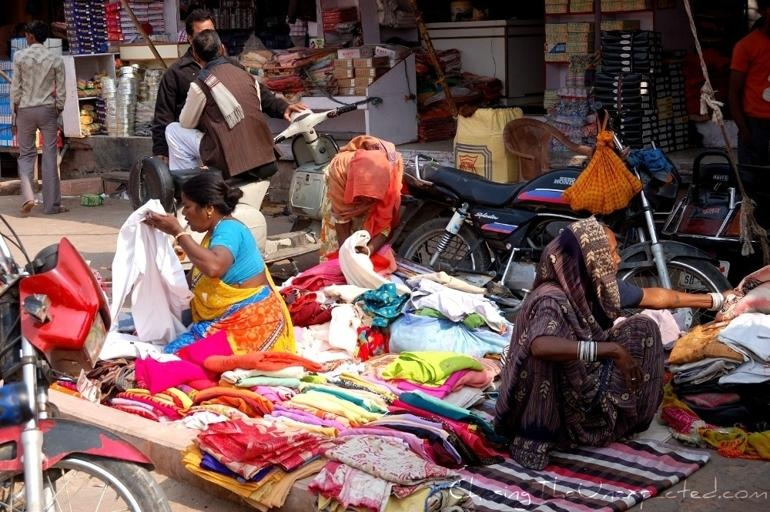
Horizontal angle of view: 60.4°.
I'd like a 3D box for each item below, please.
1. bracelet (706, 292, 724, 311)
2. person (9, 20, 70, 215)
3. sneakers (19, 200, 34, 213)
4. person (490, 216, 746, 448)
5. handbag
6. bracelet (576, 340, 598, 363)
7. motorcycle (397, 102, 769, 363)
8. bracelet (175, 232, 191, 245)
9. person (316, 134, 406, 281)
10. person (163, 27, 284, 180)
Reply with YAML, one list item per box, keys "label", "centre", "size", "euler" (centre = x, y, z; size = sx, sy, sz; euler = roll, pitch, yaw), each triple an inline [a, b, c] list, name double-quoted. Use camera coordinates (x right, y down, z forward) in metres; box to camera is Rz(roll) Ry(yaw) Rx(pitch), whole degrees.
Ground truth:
- label: "bracelet"
  centre: [2.218, 0.309, 4.456]
  size: [0.109, 0.117, 0.122]
  euler: [5, 7, 29]
- label: "person"
  centre: [-5.107, -1.851, 9.791]
  size: [0.681, 2.427, 0.510]
  euler: [-5, 10, -28]
- label: "sneakers"
  centre: [-5.274, -0.719, 9.712]
  size: [0.162, 0.166, 0.431]
  euler: [-3, 2, -25]
- label: "person"
  centre: [1.215, 0.486, 3.983]
  size: [0.991, 1.424, 0.464]
  euler: [-3, 9, -17]
- label: "handbag"
  centre: [1.822, -0.751, 5.552]
  size: [0.658, 0.840, 0.781]
  euler: [0, 6, 15]
- label: "bracelet"
  centre: [1.153, 0.538, 3.793]
  size: [0.103, 0.128, 0.137]
  euler: [4, 4, 5]
- label: "motorcycle"
  centre: [1.647, -0.313, 6.379]
  size: [2.748, 1.702, 1.483]
  euler: [7, 7, 25]
- label: "bracelet"
  centre: [-1.418, -0.124, 4.614]
  size: [0.079, 0.085, 0.033]
  euler: [19, 17, -43]
- label: "person"
  centre: [-0.273, -0.476, 6.024]
  size: [0.792, 1.235, 0.596]
  euler: [2, 9, 13]
- label: "person"
  centre: [-1.582, -1.452, 6.370]
  size: [1.013, 1.428, 0.532]
  euler: [-3, 9, -16]
